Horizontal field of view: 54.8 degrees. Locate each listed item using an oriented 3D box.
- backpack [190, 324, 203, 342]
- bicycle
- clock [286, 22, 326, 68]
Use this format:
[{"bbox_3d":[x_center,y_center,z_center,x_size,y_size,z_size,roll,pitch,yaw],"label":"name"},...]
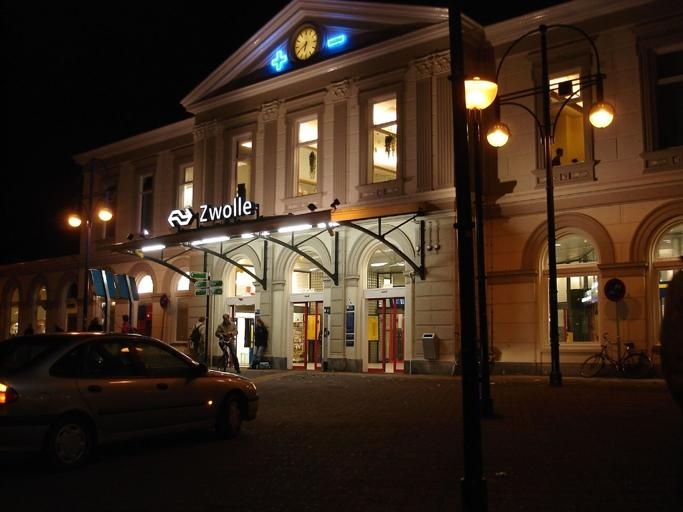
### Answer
[{"bbox_3d":[-6.246,3.339,28.473,0.630,0.672,0.365,7,-10,0],"label":"backpack"},{"bbox_3d":[8.829,3.303,21.178,1.948,1.265,0.995,-5,-20,39],"label":"bicycle"},{"bbox_3d":[-1.541,-9.265,28.630,1.895,1.840,0.219,-4,-5,39],"label":"clock"}]
